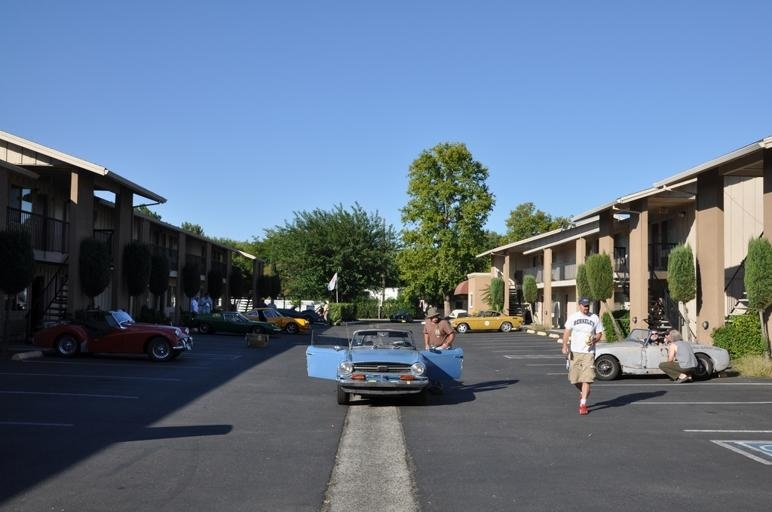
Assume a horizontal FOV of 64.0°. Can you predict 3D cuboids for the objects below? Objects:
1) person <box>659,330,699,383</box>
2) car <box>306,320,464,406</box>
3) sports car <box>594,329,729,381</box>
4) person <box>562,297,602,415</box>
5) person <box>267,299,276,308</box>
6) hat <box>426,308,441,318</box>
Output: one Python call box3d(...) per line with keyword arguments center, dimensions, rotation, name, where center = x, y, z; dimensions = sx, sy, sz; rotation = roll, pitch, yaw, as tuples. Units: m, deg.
box3d(center=(9.200, 3.218, 19.437), dimensions=(1.239, 1.729, 0.945), rotation=(-8, 9, -12), name="person")
box3d(center=(-0.009, 2.748, 15.249), dimensions=(3.615, 1.744, 2.410), rotation=(1, -1, 0), name="car")
box3d(center=(8.670, 3.250, 19.745), dimensions=(3.452, 1.267, 2.119), rotation=(1, -7, 7), name="sports car")
box3d(center=(4.538, 2.260, 14.268), dimensions=(0.786, 2.724, 1.568), rotation=(1, 0, 17), name="person")
box3d(center=(-12.039, 5.005, 65.252), dimensions=(1.265, 0.836, 1.485), rotation=(7, -15, -8), name="person")
box3d(center=(1.322, 1.569, 16.968), dimensions=(0.394, 0.199, 0.456), rotation=(-13, -5, 24), name="hat")
